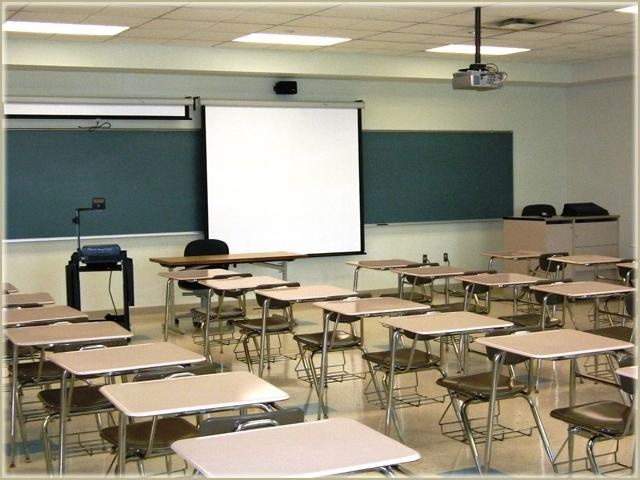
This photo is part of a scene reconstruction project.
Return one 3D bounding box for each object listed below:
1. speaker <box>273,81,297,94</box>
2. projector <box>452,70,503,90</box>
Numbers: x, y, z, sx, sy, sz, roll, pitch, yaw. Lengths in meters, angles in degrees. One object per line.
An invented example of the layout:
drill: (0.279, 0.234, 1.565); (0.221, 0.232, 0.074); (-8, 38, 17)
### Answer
speaker: (-0.585, -2.528, 8.945); (0.479, 0.229, 0.235); (-1, 6, -16)
projector: (1.924, -1.939, 6.477); (0.595, 0.247, 0.260); (0, 4, 4)
